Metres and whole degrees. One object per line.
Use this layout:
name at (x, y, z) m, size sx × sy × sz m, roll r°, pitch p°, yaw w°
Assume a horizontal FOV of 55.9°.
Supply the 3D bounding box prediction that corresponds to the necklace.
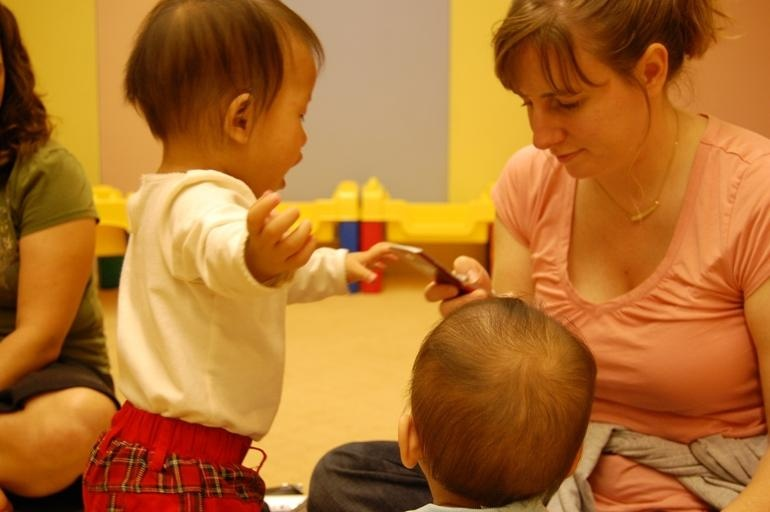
necklace at (0.595, -0.199, 1.634) m, size 0.048 × 0.252 × 0.137 m, roll -18°, pitch 22°, yaw -38°
